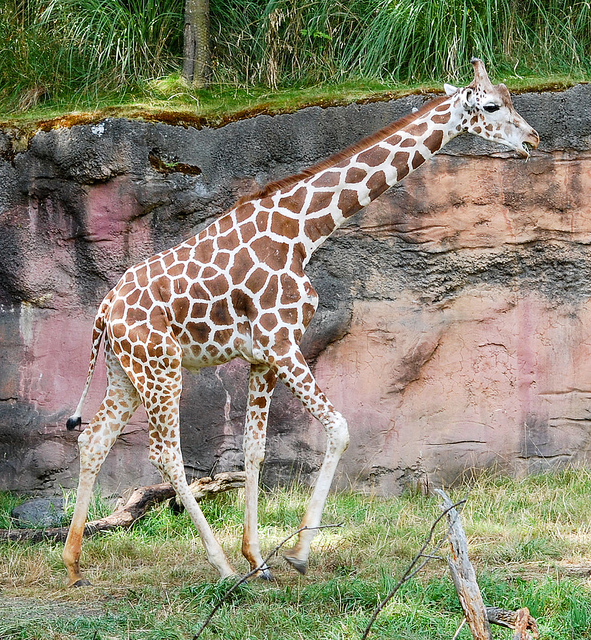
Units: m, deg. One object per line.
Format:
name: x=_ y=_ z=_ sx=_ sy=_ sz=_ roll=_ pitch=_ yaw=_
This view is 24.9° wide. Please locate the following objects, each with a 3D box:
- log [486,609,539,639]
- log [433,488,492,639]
log: x=1.163 y=1.633 z=7.237 sx=0.216 sy=0.097 sz=0.166 roll=9 pitch=22 yaw=-36
log: x=0.887 y=1.285 z=7.038 sx=0.322 sy=0.794 sz=0.414 roll=2 pitch=5 yaw=6
